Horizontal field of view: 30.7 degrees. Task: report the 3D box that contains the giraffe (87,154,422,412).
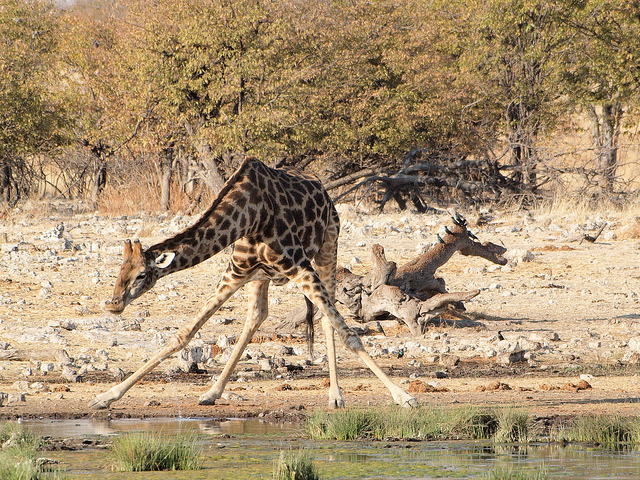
[{"bbox_3d":[-1.562,1.245,26.416,3.694,5.511,8.947,2,5,43],"label":"giraffe"}]
